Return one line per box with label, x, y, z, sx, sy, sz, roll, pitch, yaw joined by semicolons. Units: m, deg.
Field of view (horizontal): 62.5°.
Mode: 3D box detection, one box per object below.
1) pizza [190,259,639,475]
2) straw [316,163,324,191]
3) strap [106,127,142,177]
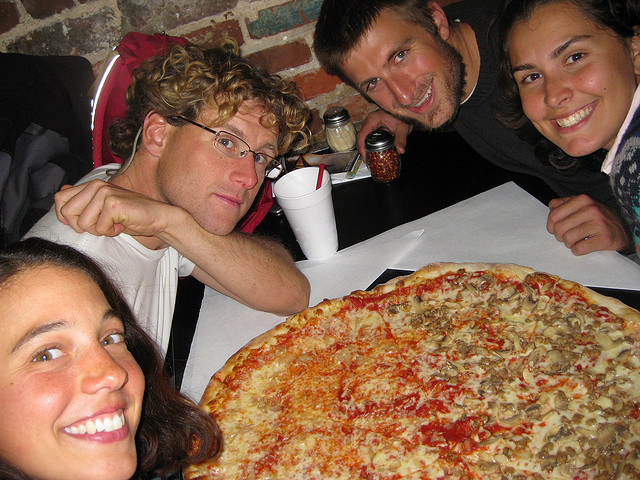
pizza;0.285;0.370;1.587;1.248;0.243;0.661;-5;36;8
straw;0.000;-0.242;1.938;0.016;0.012;0.131;-1;62;23
strap;-0.693;-0.308;1.913;0.115;0.034;0.189;9;82;32
